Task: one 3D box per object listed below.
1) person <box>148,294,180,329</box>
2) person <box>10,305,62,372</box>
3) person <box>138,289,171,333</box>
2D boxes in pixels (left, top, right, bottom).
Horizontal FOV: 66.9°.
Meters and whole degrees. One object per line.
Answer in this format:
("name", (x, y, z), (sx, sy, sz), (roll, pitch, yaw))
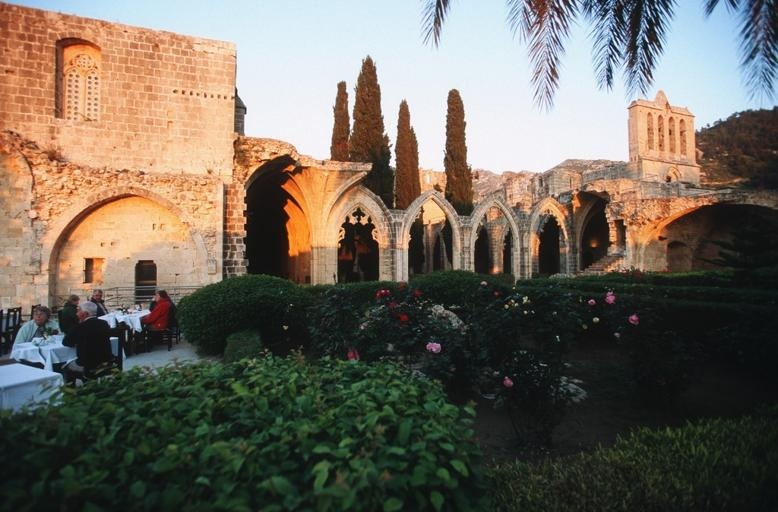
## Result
("person", (-5.621, 1.436, 14.767), (0.613, 0.951, 1.043), (-1, -4, 0))
("person", (-7.475, 1.801, 12.500), (1.244, 1.697, 0.783), (2, -7, -34))
("person", (-5.723, 1.327, 14.586), (0.711, 0.953, 0.728), (13, 11, -14))
